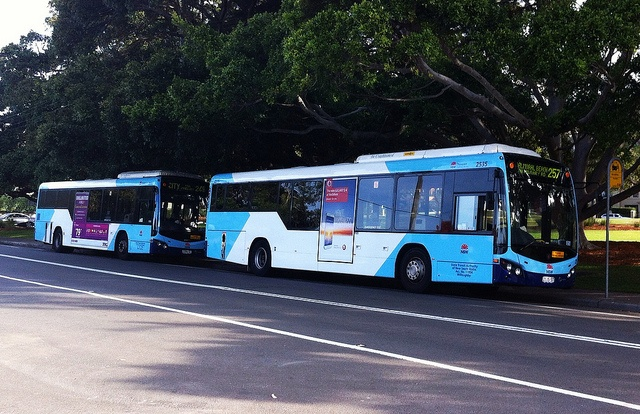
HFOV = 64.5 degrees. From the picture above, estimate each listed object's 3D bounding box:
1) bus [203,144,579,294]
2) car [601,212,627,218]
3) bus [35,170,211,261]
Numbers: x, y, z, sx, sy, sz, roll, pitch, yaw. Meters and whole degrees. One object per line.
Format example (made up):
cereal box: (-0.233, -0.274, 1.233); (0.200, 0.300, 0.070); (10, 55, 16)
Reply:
bus: (0.427, 0.537, 21.927); (5.235, 5.953, 18.147); (3, -5, -41)
car: (50.423, 1.478, 87.330); (2.361, 0.901, 1.112); (-3, 1, -16)
bus: (-12.252, 0.553, 30.801); (12.104, 4.931, 3.960); (0, -5, 36)
